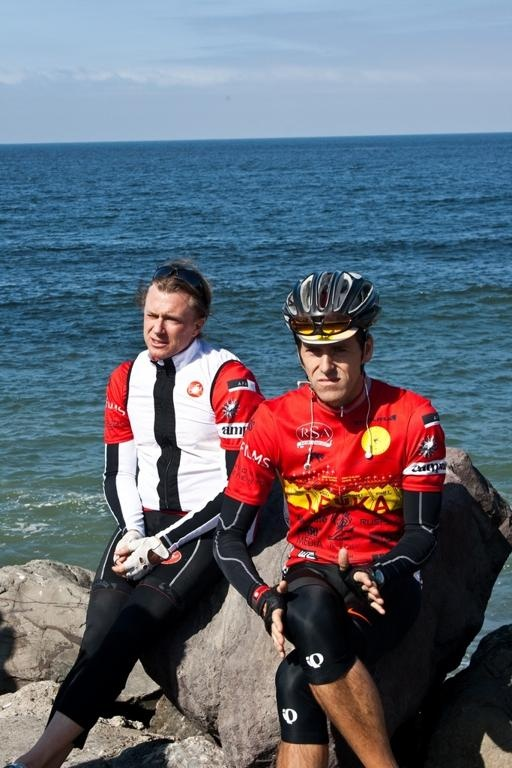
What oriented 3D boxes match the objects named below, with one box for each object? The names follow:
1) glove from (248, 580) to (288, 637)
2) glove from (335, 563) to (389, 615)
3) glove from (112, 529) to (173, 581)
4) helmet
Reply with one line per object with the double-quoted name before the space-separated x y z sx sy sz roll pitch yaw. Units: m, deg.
"glove" 0.066 1.057 4.167 0.095 0.181 0.218 20 22 -27
"glove" 0.476 0.965 4.153 0.305 0.166 0.080 39 61 9
"glove" -0.647 0.977 4.992 0.235 0.290 0.133 39 -16 17
"helmet" 0.396 -0.379 4.383 0.489 0.332 0.416 -2 14 -7
